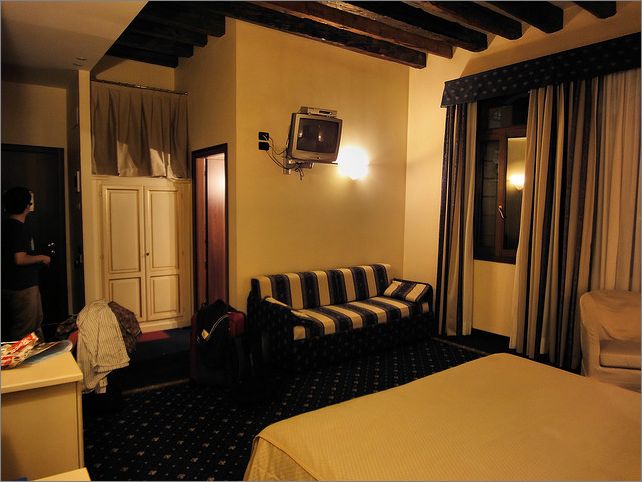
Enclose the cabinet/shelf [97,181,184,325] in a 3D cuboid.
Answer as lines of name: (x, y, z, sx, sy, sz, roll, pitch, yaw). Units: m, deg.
cabinet/shelf: (-2.242, 0.164, 6.037, 0.994, 1.935, 0.316, -7, 14, -30)
